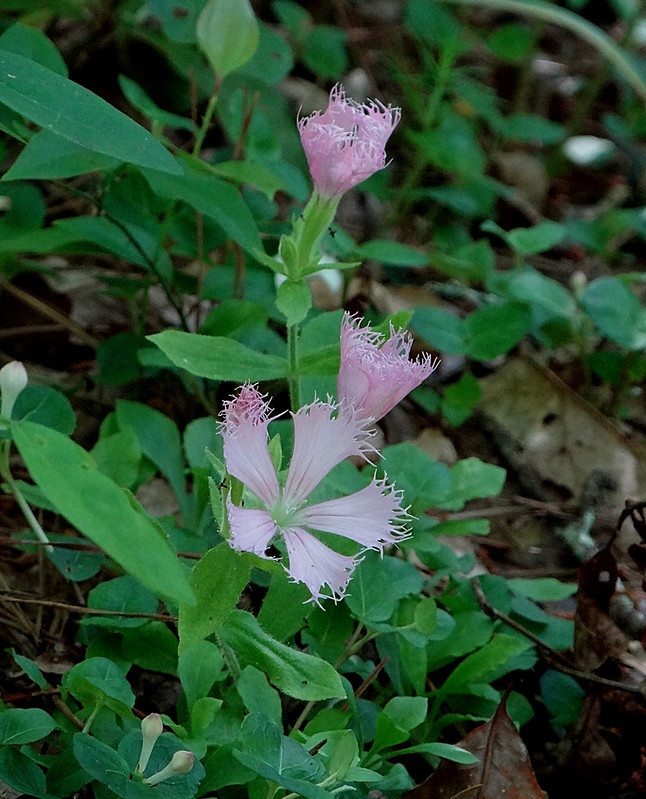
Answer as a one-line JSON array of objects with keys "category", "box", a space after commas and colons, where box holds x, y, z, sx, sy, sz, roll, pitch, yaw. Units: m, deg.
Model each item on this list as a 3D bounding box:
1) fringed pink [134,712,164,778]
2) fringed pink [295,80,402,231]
[{"category": "fringed pink", "box": [-0.211, 0.405, 1.059, 0.036, 0.090, 0.031, 7, 33, -22]}, {"category": "fringed pink", "box": [0.034, -0.355, 1.255, 0.131, 0.084, 0.150, -8, 75, -5]}]
